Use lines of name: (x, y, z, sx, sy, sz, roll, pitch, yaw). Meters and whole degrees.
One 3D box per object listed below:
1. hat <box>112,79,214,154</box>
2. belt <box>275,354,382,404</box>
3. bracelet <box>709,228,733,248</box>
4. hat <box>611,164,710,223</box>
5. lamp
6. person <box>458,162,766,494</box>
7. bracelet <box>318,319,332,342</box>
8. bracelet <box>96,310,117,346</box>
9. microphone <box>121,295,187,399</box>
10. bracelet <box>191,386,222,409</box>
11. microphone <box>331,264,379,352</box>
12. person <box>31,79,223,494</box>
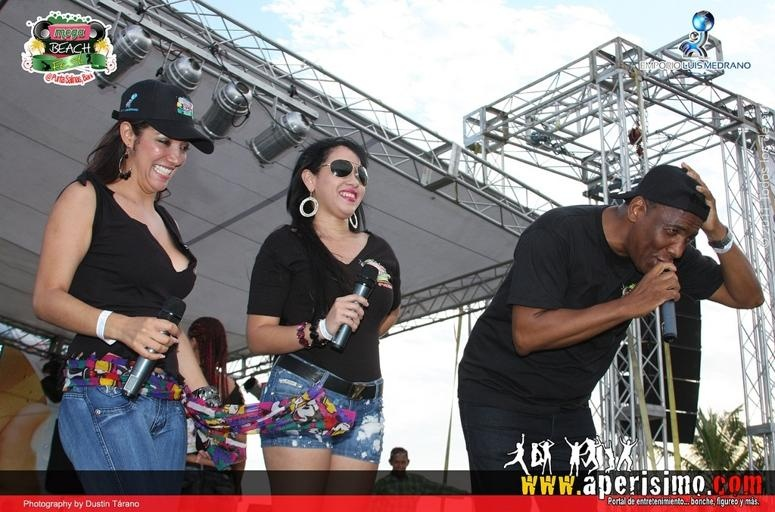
hat: (-1.251, -0.785, 3.309, 0.526, 0.266, 0.316, 23, 8, 4)
belt: (-0.349, 0.729, 3.589, 0.404, 0.089, 0.344, 24, -8, -14)
bracelet: (2.176, -0.120, 3.969, 0.146, 0.061, 0.127, -2, -9, 25)
hat: (1.570, -0.365, 3.475, 0.465, 0.228, 0.318, 25, 9, 16)
lamp: (-2.374, -2.145, 8.058, 2.715, 0.837, 0.771, 26, -11, -20)
person: (1.282, 0.457, 3.645, 1.662, 1.959, 0.958, 4, -18, 6)
bracelet: (-0.363, 0.426, 3.458, 0.080, 0.108, 0.120, -6, -8, 43)
bracelet: (-1.356, 0.346, 2.923, 0.077, 0.151, 0.106, 8, -18, -4)
microphone: (-1.140, 0.439, 2.954, 0.168, 0.500, 0.260, 17, -21, -29)
bracelet: (-1.020, 0.785, 3.364, 0.137, 0.103, 0.108, 3, -6, 27)
microphone: (-0.161, 0.273, 3.580, 0.170, 0.597, 0.156, 29, -36, 3)
person: (-1.325, 0.120, 3.198, 0.854, 2.126, 0.646, 10, -19, -12)
